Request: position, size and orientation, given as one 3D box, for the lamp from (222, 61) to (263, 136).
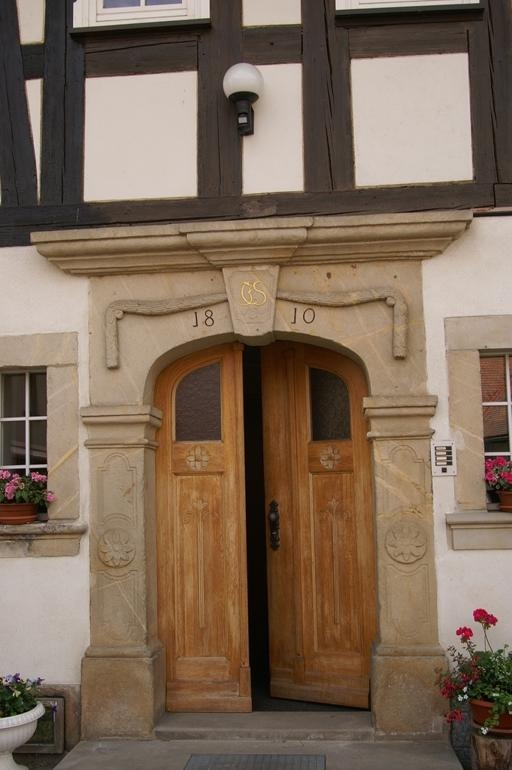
[{"bbox_3d":[-0.078,-1.720,6.935,0.243,0.404,0.241,-2,1,-34],"label":"lamp"}]
